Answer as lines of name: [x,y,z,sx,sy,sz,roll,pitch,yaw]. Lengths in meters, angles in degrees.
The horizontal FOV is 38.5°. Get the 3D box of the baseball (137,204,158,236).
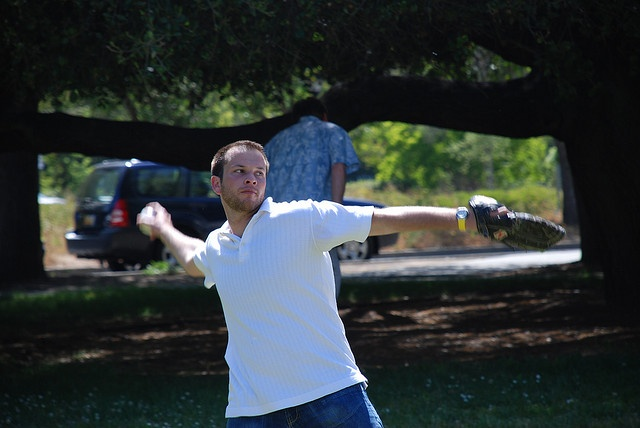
baseball: [-1.249,0.057,6.628,0.144,0.195,0.157,-20,-20,27]

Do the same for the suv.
suv: [-1.031,-0.014,8.708,2.661,0.899,1.124,-3,1,-25]

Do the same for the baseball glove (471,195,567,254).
baseball glove: [1.175,0.087,5.883,0.718,0.256,0.313,13,-20,11]
